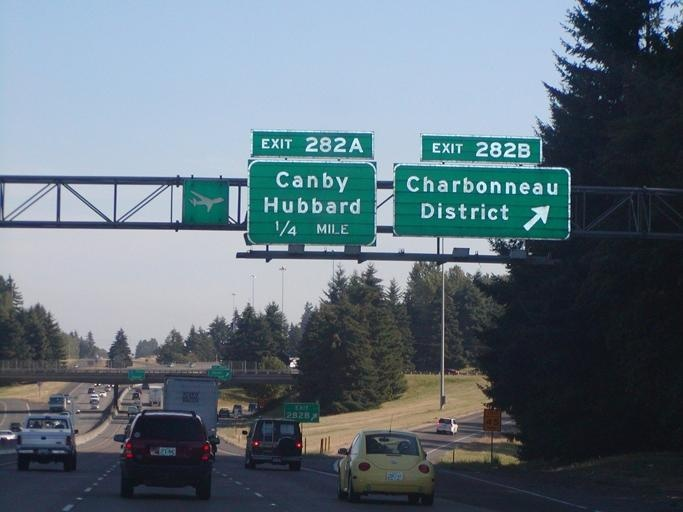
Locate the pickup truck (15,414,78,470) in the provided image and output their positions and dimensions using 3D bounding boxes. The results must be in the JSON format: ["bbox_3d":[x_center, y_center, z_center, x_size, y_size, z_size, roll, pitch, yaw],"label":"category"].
[{"bbox_3d":[-16.508,10.531,87.194,3.040,3.182,6.562,2,-6,-7],"label":"pickup truck"}]

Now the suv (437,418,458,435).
[{"bbox_3d":[9.334,15.098,137.677,1.651,1.434,1.797,0,-8,-2],"label":"suv"}]

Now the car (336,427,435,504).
[{"bbox_3d":[2.050,10.306,76.004,3.631,3.823,6.186,1,-11,-8],"label":"car"}]

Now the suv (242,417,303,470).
[{"bbox_3d":[-4.135,11.197,93.490,2.833,3.254,4.400,2,-9,-14],"label":"suv"}]
